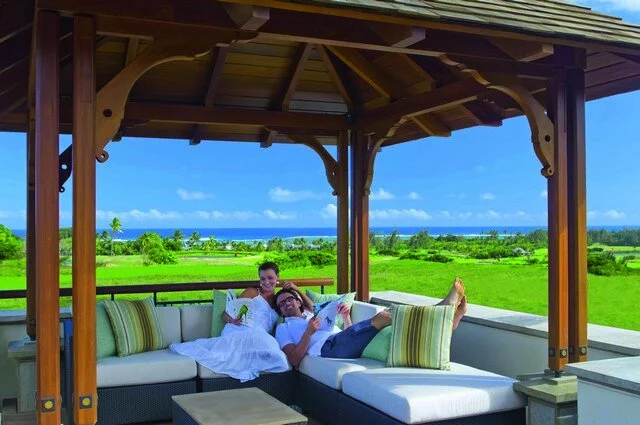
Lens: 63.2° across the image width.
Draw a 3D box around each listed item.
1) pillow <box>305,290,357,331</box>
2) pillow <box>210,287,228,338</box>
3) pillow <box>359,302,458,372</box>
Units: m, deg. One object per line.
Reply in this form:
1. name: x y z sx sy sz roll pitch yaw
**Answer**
1. pillow: 0.136 1.085 5.990 0.406 0.454 0.130 2 1 -7
2. pillow: -1.146 1.127 5.802 0.115 0.407 0.393 4 -8 -24
3. pillow: 0.843 1.214 5.008 0.704 0.536 0.255 -3 -19 33
